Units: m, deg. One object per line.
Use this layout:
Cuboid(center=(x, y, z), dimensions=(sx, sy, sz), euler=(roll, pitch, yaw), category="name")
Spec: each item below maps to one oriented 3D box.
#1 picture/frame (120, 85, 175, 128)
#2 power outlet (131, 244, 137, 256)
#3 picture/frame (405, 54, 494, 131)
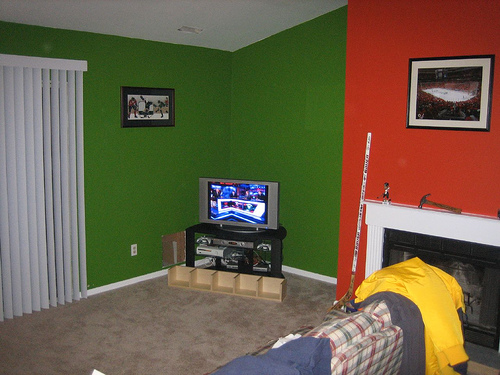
Cuboid(center=(-1.359, -1.053, 5.528), dimensions=(0.575, 0.420, 0.029), euler=(-9, 14, -43), category="picture/frame")
Cuboid(center=(-1.525, 0.816, 5.595), dimensions=(0.019, 0.187, 0.135), euler=(14, 17, 40), category="power outlet")
Cuboid(center=(1.994, -0.946, 4.210), dimensions=(0.757, 0.749, 0.031), euler=(6, 12, 37), category="picture/frame")
